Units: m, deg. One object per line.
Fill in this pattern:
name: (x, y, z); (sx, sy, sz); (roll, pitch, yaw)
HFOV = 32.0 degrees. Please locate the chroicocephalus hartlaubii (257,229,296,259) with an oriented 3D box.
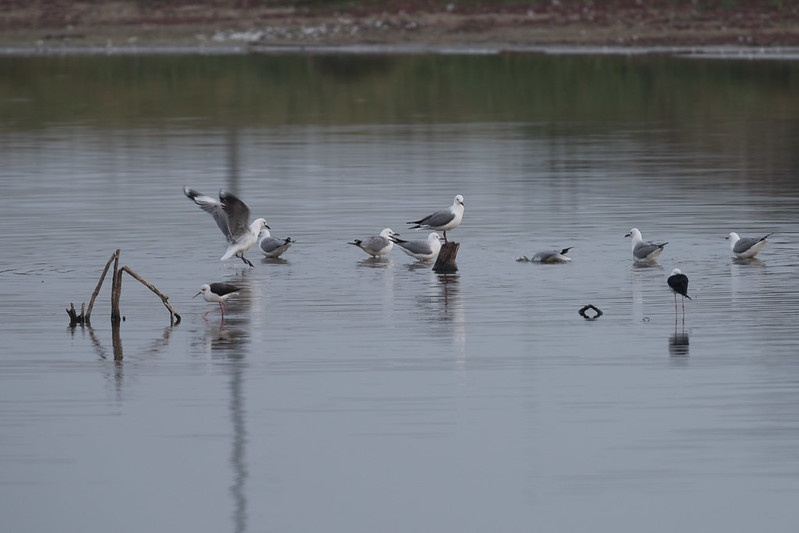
chroicocephalus hartlaubii: (-2.341, -0.424, 26.904); (0.409, 0.552, 1.049); (-10, 8, -43)

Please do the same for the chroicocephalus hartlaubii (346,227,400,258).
chroicocephalus hartlaubii: (-0.548, -0.442, 27.016); (0.947, 0.474, 0.428); (0, 7, -8)
